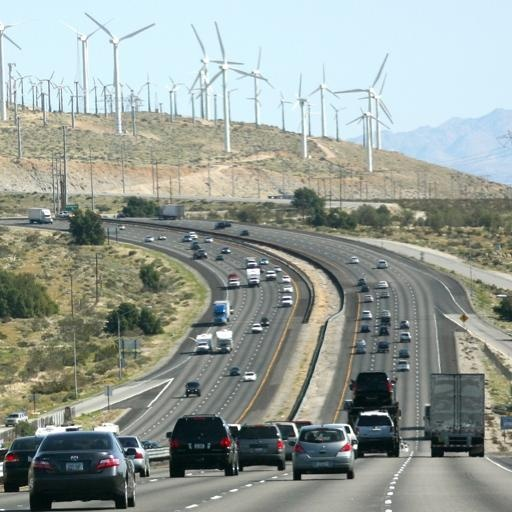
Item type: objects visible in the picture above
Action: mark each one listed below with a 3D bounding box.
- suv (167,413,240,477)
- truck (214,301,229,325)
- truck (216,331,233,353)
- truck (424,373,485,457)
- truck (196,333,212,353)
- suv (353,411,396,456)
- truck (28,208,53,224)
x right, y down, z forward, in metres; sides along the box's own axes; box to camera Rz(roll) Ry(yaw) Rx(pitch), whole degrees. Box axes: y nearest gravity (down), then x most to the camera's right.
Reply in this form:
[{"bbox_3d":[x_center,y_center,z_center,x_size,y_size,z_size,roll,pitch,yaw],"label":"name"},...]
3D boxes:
[{"bbox_3d":[-2.030,7.369,52.912,2.411,2.354,3.716,-2,-7,3],"label":"suv"},{"bbox_3d":[-3.491,5.720,138.101,1.559,2.204,3.232,-3,10,-4],"label":"truck"},{"bbox_3d":[-2.923,7.892,126.409,1.151,1.155,2.186,0,3,3],"label":"truck"},{"bbox_3d":[9.410,7.827,67.035,3.948,3.556,3.934,-4,-7,17],"label":"truck"},{"bbox_3d":[-4.903,8.264,127.167,1.135,1.153,2.170,0,1,3],"label":"truck"},{"bbox_3d":[5.607,8.214,65.700,2.207,1.852,4.430,-1,4,-1],"label":"suv"},{"bbox_3d":[-31.083,-5.684,192.602,1.795,1.720,3.337,-3,3,-42],"label":"truck"}]
